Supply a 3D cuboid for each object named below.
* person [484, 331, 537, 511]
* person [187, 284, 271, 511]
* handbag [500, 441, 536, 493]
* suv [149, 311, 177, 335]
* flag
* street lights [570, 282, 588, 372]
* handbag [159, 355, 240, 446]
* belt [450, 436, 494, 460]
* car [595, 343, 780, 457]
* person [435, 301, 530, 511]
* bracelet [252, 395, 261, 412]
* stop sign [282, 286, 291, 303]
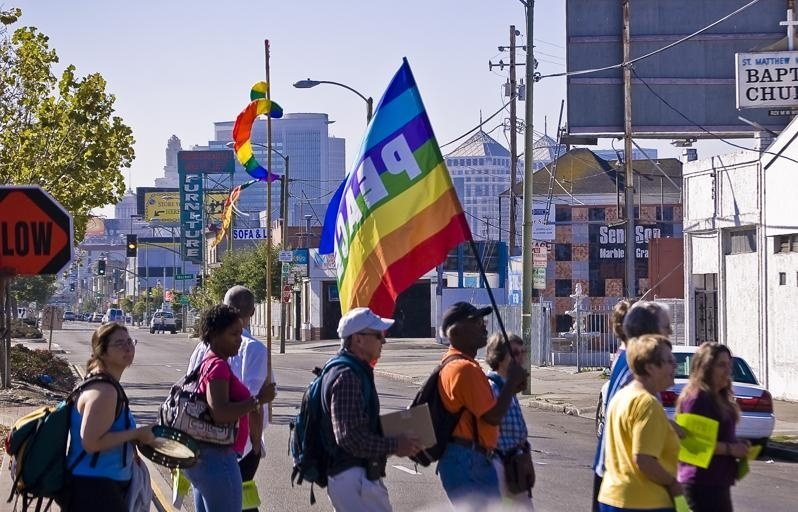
[{"bbox_3d":[1.434,2.171,16.372,0.653,2.199,0.738,0,0,21],"label":"person"},{"bbox_3d":[-2.197,1.945,16.887,1.145,3.085,1.208,1,-2,-36],"label":"person"},{"bbox_3d":[1.566,2.776,16.136,0.433,0.621,0.184,-1,-10,-13],"label":"handbag"},{"bbox_3d":[-16.684,4.743,86.898,1.246,1.135,2.610,0,0,-12],"label":"suv"},{"bbox_3d":[-0.148,-0.681,17.678,2.411,3.571,1.984,-1,-3,44],"label":"flag"},{"bbox_3d":[5.724,1.816,39.059,0.384,1.938,0.373,4,-8,-15],"label":"street lights"},{"bbox_3d":[-2.602,1.973,16.013,1.003,0.976,0.312,2,-4,-6],"label":"handbag"},{"bbox_3d":[0.972,2.464,15.928,0.342,0.082,0.336,19,-8,-15],"label":"belt"},{"bbox_3d":[6.021,2.790,24.193,1.961,1.658,4.863,-1,2,2],"label":"car"},{"bbox_3d":[1.013,1.925,16.008,1.004,2.624,0.413,2,-4,2],"label":"person"},{"bbox_3d":[-1.845,1.920,15.990,0.064,0.165,0.135,-11,9,-9],"label":"bracelet"},{"bbox_3d":[-4.317,1.470,47.000,0.143,0.932,0.655,1,10,11],"label":"stop sign"}]
